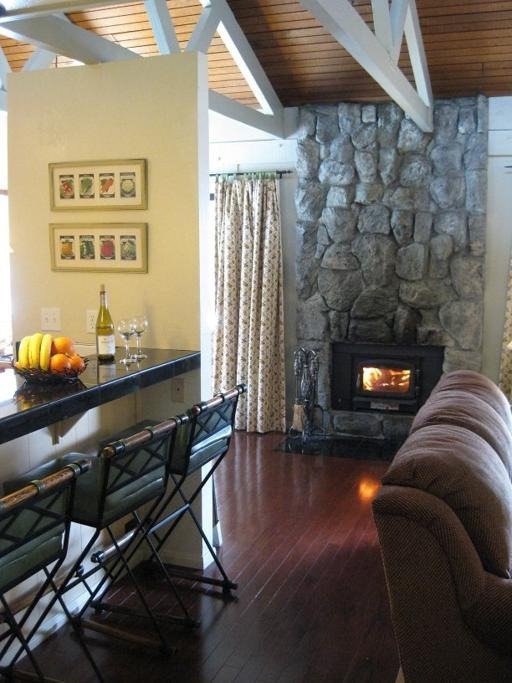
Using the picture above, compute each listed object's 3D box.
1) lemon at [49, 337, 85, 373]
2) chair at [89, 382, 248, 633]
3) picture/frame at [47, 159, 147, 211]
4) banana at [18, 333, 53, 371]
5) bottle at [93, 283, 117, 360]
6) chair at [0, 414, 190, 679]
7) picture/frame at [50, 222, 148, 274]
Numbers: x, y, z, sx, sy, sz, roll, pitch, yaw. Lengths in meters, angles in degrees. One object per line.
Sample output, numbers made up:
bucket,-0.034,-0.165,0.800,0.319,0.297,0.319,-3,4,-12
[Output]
lemon,-0.724,0.052,2.066,0.118,0.122,0.219,-5,9,-18
chair,-0.506,0.753,2.313,0.463,0.758,0.481,-18,9,-30
picture/frame,-0.827,-0.816,2.823,0.593,0.265,0.027,1,9,19
banana,-0.817,0.039,2.028,0.133,0.134,0.039,-1,-22,15
bottle,-0.709,-0.089,2.512,0.080,0.346,0.233,-4,8,-16
chair,-0.564,0.652,2.369,0.842,1.195,0.708,3,4,24
picture/frame,-0.842,-0.500,2.875,0.605,0.269,0.032,1,9,20
